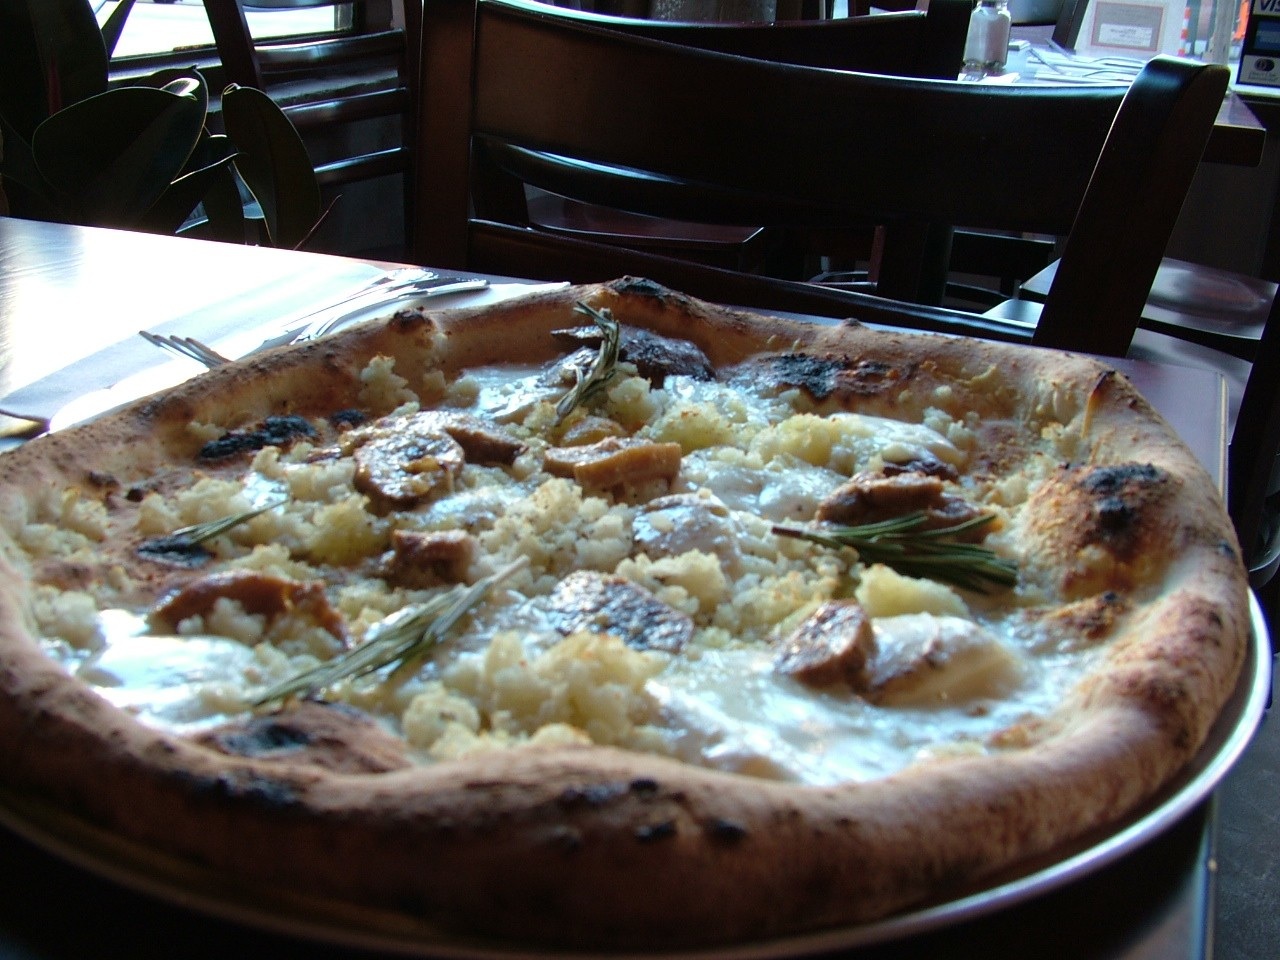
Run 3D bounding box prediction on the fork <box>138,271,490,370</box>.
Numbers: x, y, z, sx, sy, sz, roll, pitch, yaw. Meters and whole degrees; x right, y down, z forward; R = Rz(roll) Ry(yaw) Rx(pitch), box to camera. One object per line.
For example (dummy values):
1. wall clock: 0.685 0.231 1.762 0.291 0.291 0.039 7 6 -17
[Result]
1. fork: -0.364 -0.176 1.083 0.424 0.051 0.055 -14 43 -34
